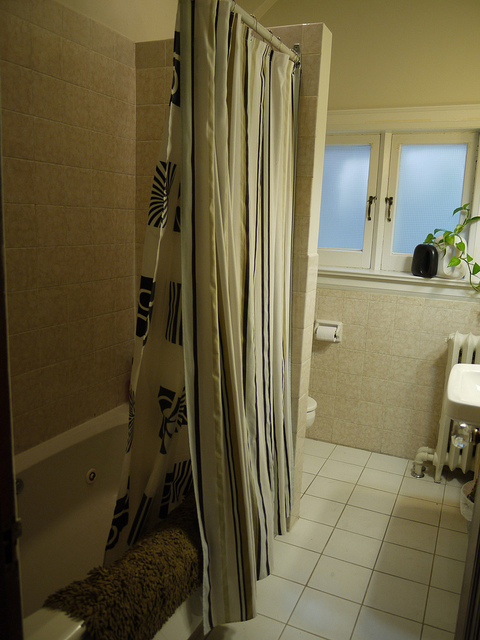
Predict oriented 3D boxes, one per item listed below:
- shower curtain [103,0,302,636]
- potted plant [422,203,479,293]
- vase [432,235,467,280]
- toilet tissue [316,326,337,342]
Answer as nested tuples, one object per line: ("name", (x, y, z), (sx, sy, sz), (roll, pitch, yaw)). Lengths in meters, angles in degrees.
("shower curtain", (-0.040, 0.009, 1.330), (0.345, 1.704, 0.738), (6, 9, 41))
("potted plant", (1.145, -0.400, 2.435), (0.280, 0.454, 0.143), (5, 8, 31))
("vase", (1.132, -0.340, 2.433), (0.174, 0.237, 0.084), (6, 9, 34))
("toilet tissue", (0.498, 0.080, 2.627), (0.080, 0.118, 0.074), (3, 6, 23))
